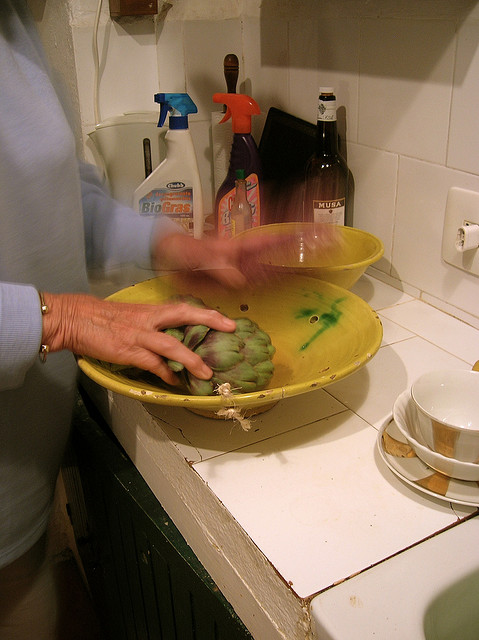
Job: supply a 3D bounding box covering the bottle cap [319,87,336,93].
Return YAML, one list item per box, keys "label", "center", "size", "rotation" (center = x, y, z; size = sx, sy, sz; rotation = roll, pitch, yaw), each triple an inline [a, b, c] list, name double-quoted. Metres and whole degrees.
- label: "bottle cap"
  center: [0.142, -0.373, 0.800]
  size: [0.022, 0.011, 0.022]
  rotation: [0, 16, 0]

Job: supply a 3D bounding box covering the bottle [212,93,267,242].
- label: "bottle"
  center: [0.014, -0.283, 0.995]
  size: [0.093, 0.309, 0.121]
  rotation: [-21, 36, -33]

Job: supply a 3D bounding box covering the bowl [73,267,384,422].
- label: "bowl"
  center: [0.006, 0.024, 0.548]
  size: [0.246, 0.067, 0.243]
  rotation: [-1, 28, 0]

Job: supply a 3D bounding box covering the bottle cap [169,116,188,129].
- label: "bottle cap"
  center: [-0.118, -0.367, 0.919]
  size: [0.041, 0.022, 0.022]
  rotation: [10, 19, 31]

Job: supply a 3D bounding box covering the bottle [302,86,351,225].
- label: "bottle"
  center: [0.149, -0.277, 0.846]
  size: [0.079, 0.218, 0.063]
  rotation: [1, 16, 6]
